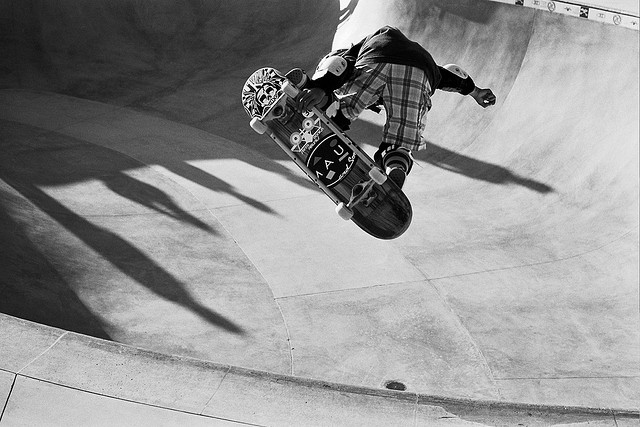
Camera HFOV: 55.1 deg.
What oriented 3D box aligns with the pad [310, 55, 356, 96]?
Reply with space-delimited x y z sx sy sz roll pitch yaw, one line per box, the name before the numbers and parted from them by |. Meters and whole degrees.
pad | 0.173 -1.821 8.083 0.430 0.575 0.286 42 18 23
